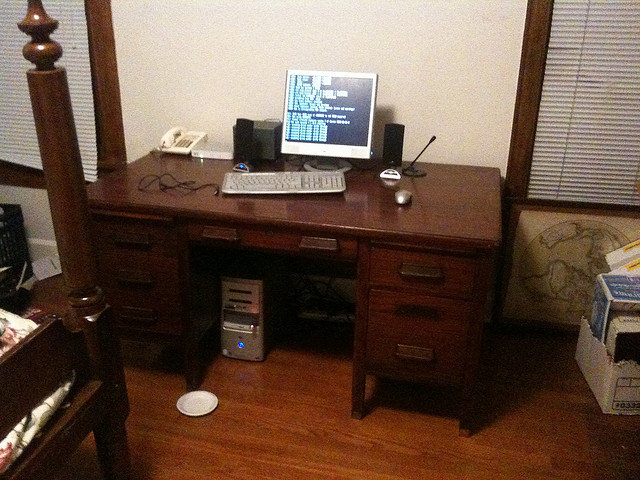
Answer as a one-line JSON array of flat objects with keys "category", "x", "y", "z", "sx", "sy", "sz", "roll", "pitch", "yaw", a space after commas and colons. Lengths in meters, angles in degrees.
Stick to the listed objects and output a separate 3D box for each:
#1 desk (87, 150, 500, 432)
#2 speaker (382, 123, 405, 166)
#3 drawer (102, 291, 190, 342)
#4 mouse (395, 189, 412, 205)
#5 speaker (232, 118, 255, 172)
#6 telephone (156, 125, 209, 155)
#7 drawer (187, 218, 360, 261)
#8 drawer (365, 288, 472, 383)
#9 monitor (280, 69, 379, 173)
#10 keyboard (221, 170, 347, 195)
[{"category": "desk", "x": -0.118, "y": 0.170, "z": 2.395, "sx": 1.673, "sy": 0.803, "sz": 0.843, "roll": 6, "pitch": 21, "yaw": 16}, {"category": "speaker", "x": 0.331, "y": -0.433, "z": 2.309, "sx": 0.118, "sy": 0.171, "sz": 0.117, "roll": 13, "pitch": 22, "yaw": 33}, {"category": "drawer", "x": -0.744, "y": 0.279, "z": 2.262, "sx": 0.374, "sy": 0.214, "sz": 0.198, "roll": 1, "pitch": 33, "yaw": 0}, {"category": "mouse", "x": 0.318, "y": -0.171, "z": 2.026, "sx": 0.051, "sy": 0.019, "sz": 0.063, "roll": 18, "pitch": 54, "yaw": 24}, {"category": "speaker", "x": -0.351, "y": -0.429, "z": 2.389, "sx": 0.111, "sy": 0.228, "sz": 0.088, "roll": 2, "pitch": 8, "yaw": -22}, {"category": "telephone", "x": -0.672, "y": -0.484, "z": 2.541, "sx": 0.189, "sy": 0.059, "sz": 0.161, "roll": 15, "pitch": 44, "yaw": 20}, {"category": "drawer", "x": -0.188, "y": -0.003, "z": 1.966, "sx": 0.676, "sy": 0.107, "sz": 0.031, "roll": 5, "pitch": 25, "yaw": 10}, {"category": "drawer", "x": 0.417, "y": 0.311, "z": 2.151, "sx": 0.361, "sy": 0.339, "sz": 0.372, "roll": 5, "pitch": 21, "yaw": 12}, {"category": "monitor", "x": 0.043, "y": -0.535, "z": 2.314, "sx": 0.438, "sy": 0.402, "sz": 0.224, "roll": 5, "pitch": 33, "yaw": 6}, {"category": "keyboard", "x": -0.147, "y": -0.243, "z": 2.184, "sx": 0.504, "sy": 0.053, "sz": 0.208, "roll": 0, "pitch": 24, "yaw": -1}]
